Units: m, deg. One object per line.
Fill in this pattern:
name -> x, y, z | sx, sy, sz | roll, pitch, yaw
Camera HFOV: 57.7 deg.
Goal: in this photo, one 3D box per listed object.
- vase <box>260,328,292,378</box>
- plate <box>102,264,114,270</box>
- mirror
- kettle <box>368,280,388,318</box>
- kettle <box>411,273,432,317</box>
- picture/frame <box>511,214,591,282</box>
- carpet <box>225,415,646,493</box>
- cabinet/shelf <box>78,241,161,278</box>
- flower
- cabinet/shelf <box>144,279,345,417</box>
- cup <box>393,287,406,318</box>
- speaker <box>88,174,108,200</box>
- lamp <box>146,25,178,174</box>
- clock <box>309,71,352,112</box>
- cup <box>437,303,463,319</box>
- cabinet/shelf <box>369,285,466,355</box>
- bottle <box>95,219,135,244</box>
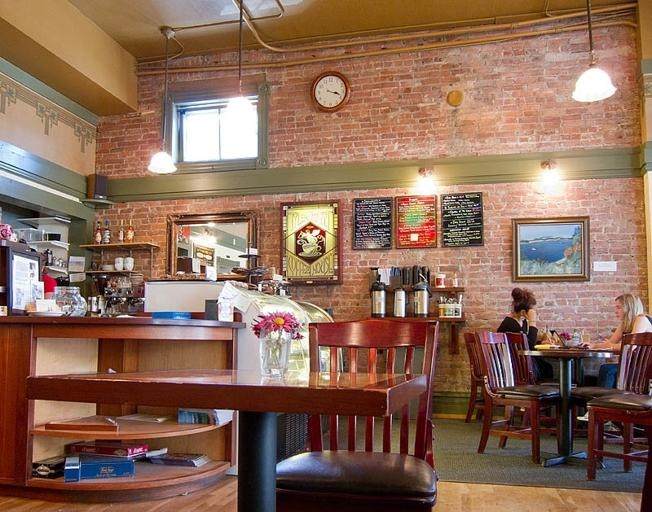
vase -> -0.248, 0.436, 2.663 | 0.180, 0.185, 0.176 | 8, -8, -33
plate -> -3.002, 0.159, 8.172 | 0.097, 0.053, 0.091 | 2, -4, -4
mirror -> -1.433, -0.127, 7.721 | 1.105, 0.694, 0.081 | -1, -8, 11
kettle -> 0.648, 0.522, 7.307 | 0.204, 0.470, 0.500 | 1, -5, 4
kettle -> 1.166, 0.471, 7.252 | 0.218, 0.547, 0.282 | 0, -5, 8
picture/frame -> 2.762, -0.078, 7.205 | 0.920, 0.816, 0.065 | -1, -4, 9
carpet -> 0.859, 1.345, 3.966 | 1.256, 0.012, 1.396 | 4, -6, -45
cabinet/shelf -> -2.949, 0.155, 8.281 | 1.262, 0.550, 0.390 | 0, -11, 4
flower -> -0.221, 0.393, 2.713 | 0.268, 0.235, 0.251 | 2, -7, -2
cabinet/shelf -> -0.746, 0.877, 5.024 | 0.936, 0.754, 1.654 | -3, -8, 16
cup -> 0.904, 0.582, 7.292 | 0.148, 0.361, 0.255 | 1, -5, 6
speaker -> -3.226, -0.962, 8.338 | 0.251, 0.362, 0.120 | 3, -6, -20
lamp -> -2.099, -1.988, 7.825 | 0.357, 2.053, 1.476 | 3, -6, -16
clock -> 0.062, -2.217, 7.963 | 0.578, 0.521, 0.563 | 5, 12, 24
cup -> 1.495, 0.664, 7.191 | 0.212, 0.124, 0.208 | 2, -5, 0
cabinet/shelf -> 0.930, 0.598, 5.719 | 0.964, 0.711, 0.277 | -2, -11, 9
bottle -> -2.931, -0.333, 8.309 | 0.415, 0.268, 0.077 | 0, -4, -1
